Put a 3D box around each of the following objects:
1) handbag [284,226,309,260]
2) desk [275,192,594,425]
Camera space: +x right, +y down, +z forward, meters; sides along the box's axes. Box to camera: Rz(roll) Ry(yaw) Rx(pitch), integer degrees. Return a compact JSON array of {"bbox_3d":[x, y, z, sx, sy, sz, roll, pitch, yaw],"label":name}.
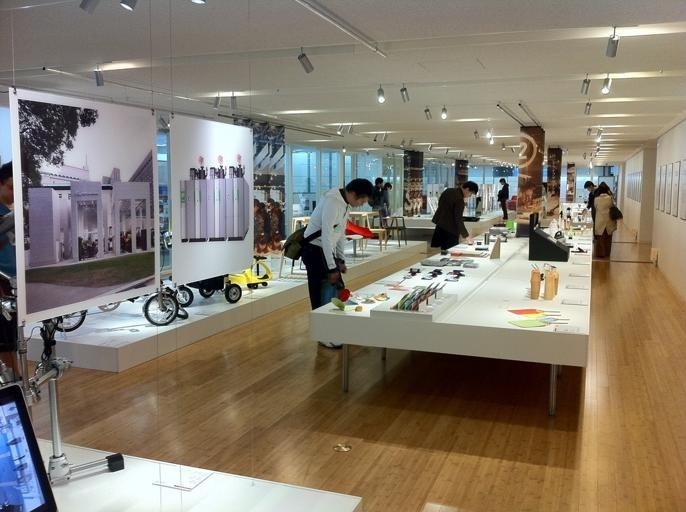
[{"bbox_3d":[-0.605,-0.089,5.643,0.203,0.376,0.291,12,-24,0],"label":"handbag"},{"bbox_3d":[0.934,0.021,6.930,4.765,1.968,6.105,5,9,28],"label":"desk"}]
